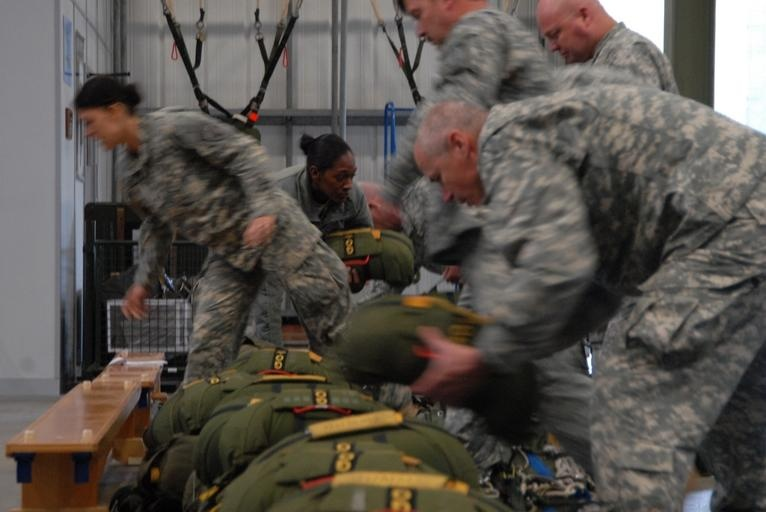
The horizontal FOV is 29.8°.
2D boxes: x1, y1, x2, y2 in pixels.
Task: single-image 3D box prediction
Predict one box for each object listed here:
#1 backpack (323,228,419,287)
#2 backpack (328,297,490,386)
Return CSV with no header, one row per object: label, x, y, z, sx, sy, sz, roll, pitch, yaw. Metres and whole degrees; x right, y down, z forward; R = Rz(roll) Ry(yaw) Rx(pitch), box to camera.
backpack,-0.229,-0.006,8.534,0.628,0.307,0.780,0,-7,34
backpack,0.069,0.337,6.738,0.676,0.245,0.480,-17,27,4
